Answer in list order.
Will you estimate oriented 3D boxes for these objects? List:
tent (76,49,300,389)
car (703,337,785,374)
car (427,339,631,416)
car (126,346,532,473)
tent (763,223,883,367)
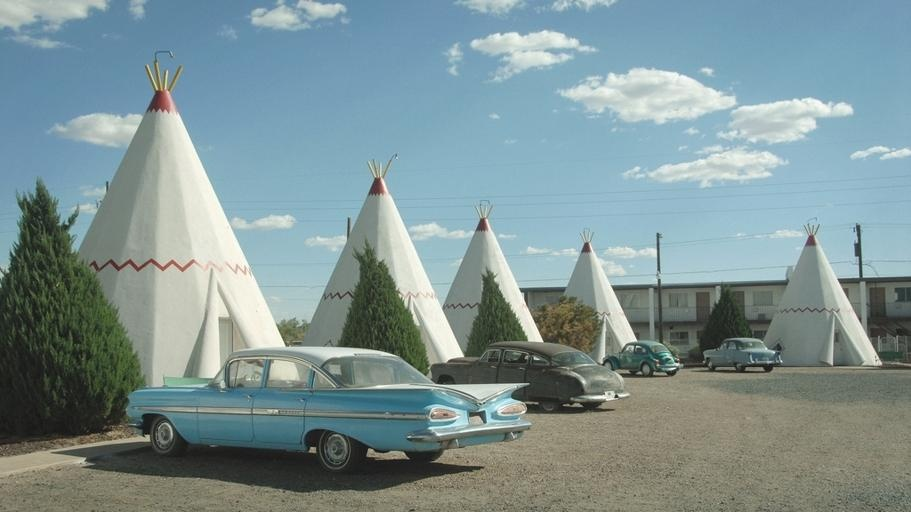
[{"bbox_3d":[-7.898,-2.330,22.812,5.601,6.513,6.050,20,38,16],"label":"tent"},{"bbox_3d":[11.688,4.082,33.664,1.391,1.032,3.144,5,-7,-28],"label":"car"},{"bbox_3d":[1.813,3.002,21.289,4.521,1.250,2.035,2,-4,30],"label":"car"},{"bbox_3d":[-2.567,2.802,15.657,6.287,1.563,2.712,-1,-7,20],"label":"car"},{"bbox_3d":[17.990,1.852,41.294,7.242,6.723,7.301,2,9,39],"label":"tent"}]
